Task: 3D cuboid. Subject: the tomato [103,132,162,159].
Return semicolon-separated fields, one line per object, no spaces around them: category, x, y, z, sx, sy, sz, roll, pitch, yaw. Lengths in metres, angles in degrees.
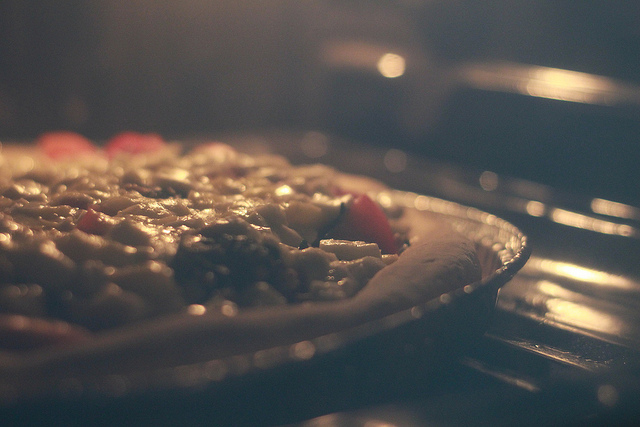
tomato;-0.325;-0.119;1.516;0.074;0.041;0.072;-3;4;-7
